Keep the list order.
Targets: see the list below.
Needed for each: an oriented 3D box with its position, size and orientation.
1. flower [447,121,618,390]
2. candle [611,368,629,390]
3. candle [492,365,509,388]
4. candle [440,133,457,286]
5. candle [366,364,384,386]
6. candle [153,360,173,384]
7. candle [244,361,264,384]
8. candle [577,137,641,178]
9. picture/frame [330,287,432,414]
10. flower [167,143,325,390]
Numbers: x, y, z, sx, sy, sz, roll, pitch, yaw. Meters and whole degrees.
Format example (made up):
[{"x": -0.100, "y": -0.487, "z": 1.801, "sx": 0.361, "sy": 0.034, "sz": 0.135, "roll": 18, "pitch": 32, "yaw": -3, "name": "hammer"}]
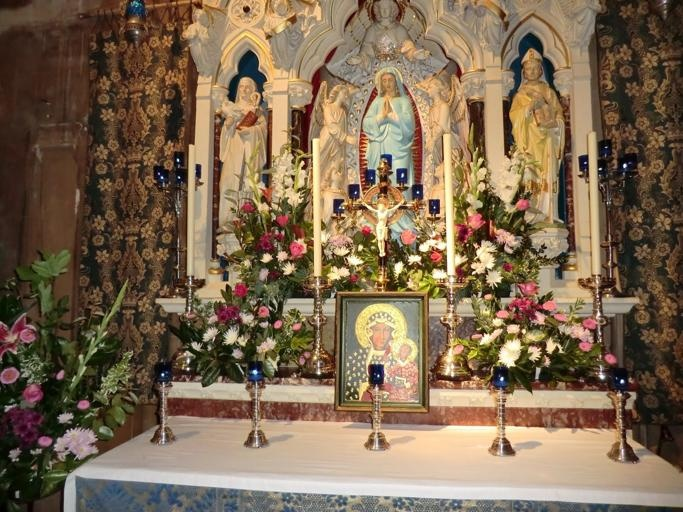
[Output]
[{"x": 1.144, "y": 0.025, "z": 4.870, "sx": 1.033, "sy": 1.432, "sz": 0.343, "roll": 0, "pitch": -17, "yaw": 8, "name": "flower"}, {"x": 1.437, "y": 0.640, "z": 4.153, "sx": 0.076, "sy": 0.120, "sz": 0.145, "roll": -1, "pitch": -5, "yaw": 17, "name": "candle"}, {"x": 0.823, "y": 0.636, "z": 4.187, "sx": 0.084, "sy": 0.122, "sz": 0.111, "roll": -1, "pitch": -5, "yaw": 10, "name": "candle"}, {"x": 0.605, "y": -0.272, "z": 4.539, "sx": 0.064, "sy": 0.849, "sz": 0.170, "roll": 0, "pitch": -5, "yaw": 7, "name": "candle"}, {"x": 0.173, "y": 0.615, "z": 4.130, "sx": 0.070, "sy": 0.112, "sz": 0.075, "roll": 0, "pitch": -5, "yaw": 9, "name": "candle"}, {"x": -0.969, "y": 0.636, "z": 4.360, "sx": 0.102, "sy": 0.122, "sz": 0.103, "roll": 5, "pitch": -6, "yaw": -21, "name": "candle"}, {"x": -0.456, "y": 0.614, "z": 4.265, "sx": 0.094, "sy": 0.112, "sz": 0.100, "roll": 6, "pitch": 11, "yaw": 28, "name": "candle"}, {"x": 1.675, "y": -0.591, "z": 5.077, "sx": 0.329, "sy": 0.258, "sz": 0.333, "roll": -2, "pitch": 3, "yaw": -22, "name": "candle"}, {"x": 0.217, "y": 0.543, "z": 4.459, "sx": 0.642, "sy": 0.823, "sz": 0.054, "roll": 0, "pitch": -9, "yaw": 7, "name": "picture/frame"}, {"x": -0.490, "y": 0.020, "z": 4.878, "sx": 0.826, "sy": 1.497, "sz": 0.906, "roll": -4, "pitch": -6, "yaw": 42, "name": "flower"}]
